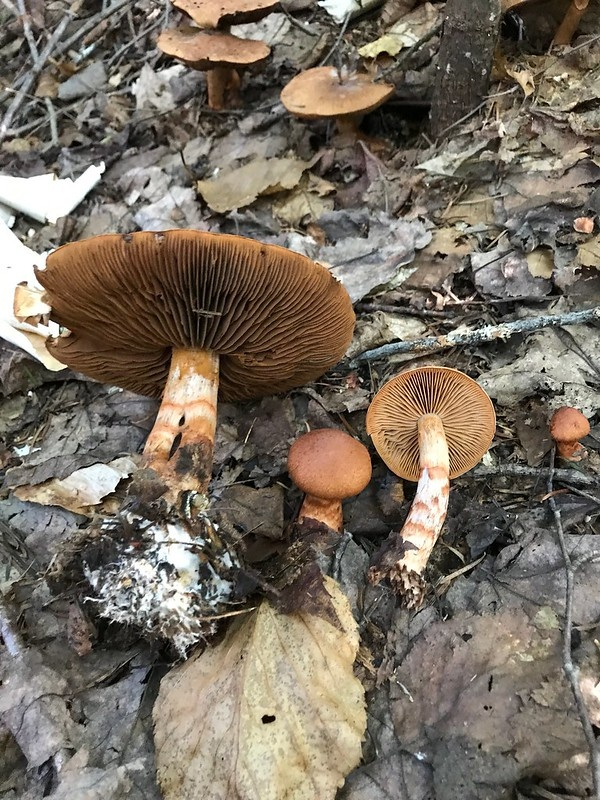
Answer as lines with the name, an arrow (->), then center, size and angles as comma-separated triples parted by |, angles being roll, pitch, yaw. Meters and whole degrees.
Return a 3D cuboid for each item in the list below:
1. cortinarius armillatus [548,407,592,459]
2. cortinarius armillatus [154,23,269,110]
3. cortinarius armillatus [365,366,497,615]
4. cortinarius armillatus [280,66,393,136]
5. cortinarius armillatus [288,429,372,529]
cortinarius armillatus -> 1.255, 0.168, 3.115 | 0.169, 0.247, 0.171 | 7, 39, 27
cortinarius armillatus -> -0.575, -2.200, 4.477 | 0.644, 0.518, 0.590 | -10, 54, -5
cortinarius armillatus -> 0.595, 0.361, 3.077 | 0.670, 0.256, 1.097 | -7, 44, 19
cortinarius armillatus -> 0.192, -1.855, 4.051 | 0.529, 0.252, 0.660 | -28, 36, -26
cortinarius armillatus -> 0.135, 0.418, 3.290 | 0.440, 0.534, 0.390 | -2, 32, -14
